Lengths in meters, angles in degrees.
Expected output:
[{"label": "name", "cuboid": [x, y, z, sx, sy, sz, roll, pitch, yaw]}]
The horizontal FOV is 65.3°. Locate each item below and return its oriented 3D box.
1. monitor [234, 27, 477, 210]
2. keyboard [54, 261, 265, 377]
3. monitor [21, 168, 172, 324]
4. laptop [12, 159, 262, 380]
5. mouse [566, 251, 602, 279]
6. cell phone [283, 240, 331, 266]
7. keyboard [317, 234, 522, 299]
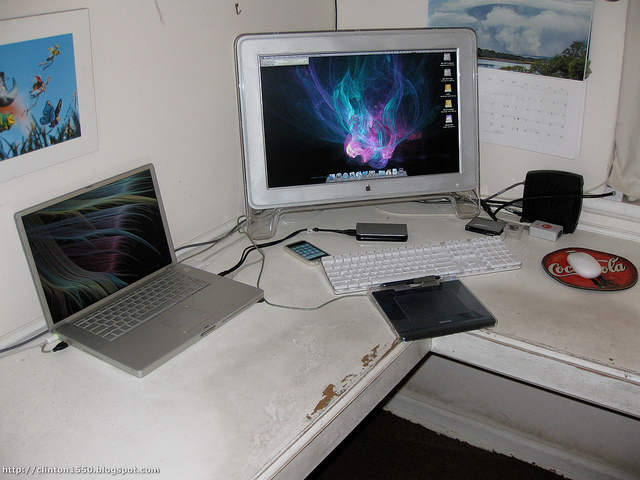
[{"label": "monitor", "cuboid": [0.092, -0.346, 1.351, 0.481, 0.353, 0.043, -6, 15, -12]}, {"label": "keyboard", "cuboid": [-0.349, 0.164, 1.106, 0.240, 0.065, 0.396, 20, 36, 40]}, {"label": "monitor", "cuboid": [-0.498, 0.017, 1.077, 0.007, 0.211, 0.295, 1, 22, 43]}, {"label": "laptop", "cuboid": [-0.377, 0.038, 1.061, 0.397, 0.255, 0.391, 11, 26, 19]}, {"label": "mouse", "cuboid": [0.645, 0.049, 1.212, 0.051, 0.022, 0.078, -12, 32, 4]}, {"label": "cell phone", "cuboid": [-0.038, 0.032, 1.316, 0.055, 0.013, 0.097, -26, 39, -31]}, {"label": "keyboard", "cuboid": [0.267, 0.058, 1.249, 0.516, 0.049, 0.148, -9, 27, -10]}]
